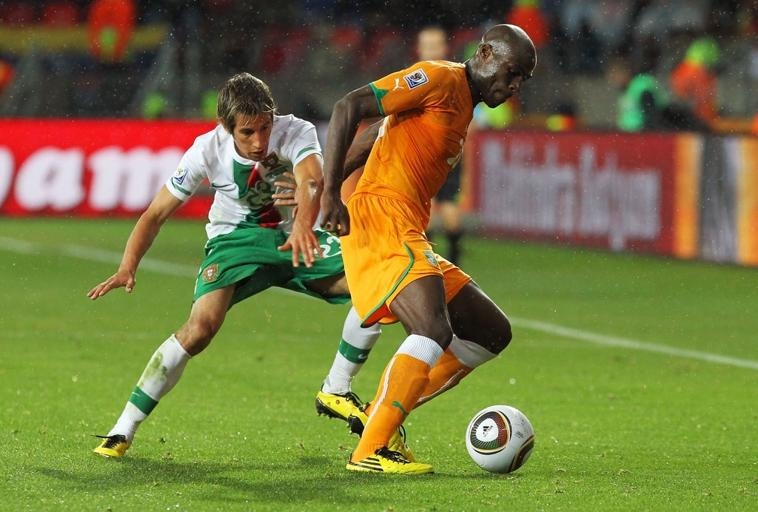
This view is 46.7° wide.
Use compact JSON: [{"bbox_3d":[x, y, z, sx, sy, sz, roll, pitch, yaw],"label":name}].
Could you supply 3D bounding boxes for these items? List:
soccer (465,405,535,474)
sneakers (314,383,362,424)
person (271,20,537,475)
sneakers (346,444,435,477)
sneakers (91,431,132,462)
[{"bbox_3d":[0.685,1.098,5.277,0.368,0.419,0.367,-18,-24,-5],"label":"soccer"},{"bbox_3d":[-0.242,0.980,5.749,0.384,0.208,0.141,12,-25,23],"label":"sneakers"},{"bbox_3d":[0.242,-0.063,5.209,1.174,2.599,0.764,0,9,-4],"label":"person"},{"bbox_3d":[0.071,1.177,5.056,0.514,0.175,0.177,0,-4,4],"label":"sneakers"},{"bbox_3d":[-1.624,1.147,5.319,0.213,0.139,0.158,-2,10,-19],"label":"sneakers"}]
